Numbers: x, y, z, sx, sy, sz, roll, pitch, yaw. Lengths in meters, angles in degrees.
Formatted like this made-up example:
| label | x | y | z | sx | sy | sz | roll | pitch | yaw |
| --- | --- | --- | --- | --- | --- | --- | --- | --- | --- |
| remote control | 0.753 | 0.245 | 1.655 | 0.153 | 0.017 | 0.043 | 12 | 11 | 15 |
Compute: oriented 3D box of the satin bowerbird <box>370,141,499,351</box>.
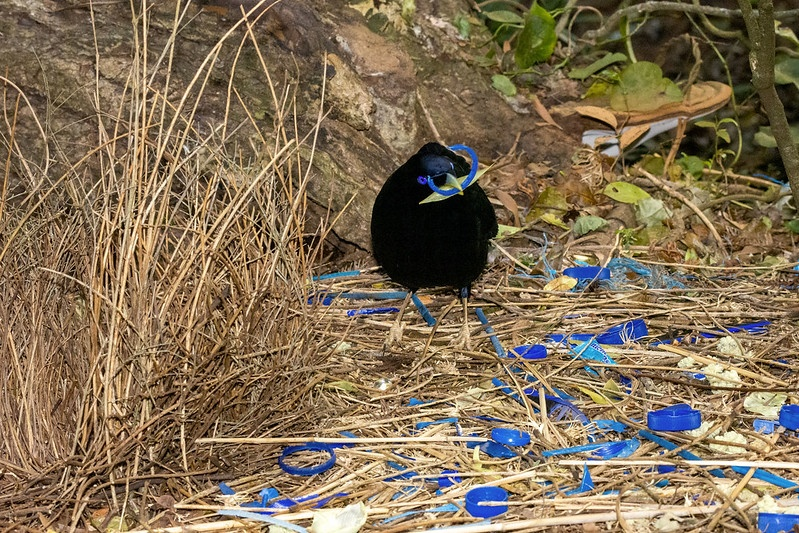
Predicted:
| label | x | y | z | sx | sy | sz | roll | pitch | yaw |
| --- | --- | --- | --- | --- | --- | --- | --- | --- | --- |
| satin bowerbird | 0.236 | -0.142 | 4.134 | 0.642 | 0.766 | 1.070 | 3 | 32 | 7 |
